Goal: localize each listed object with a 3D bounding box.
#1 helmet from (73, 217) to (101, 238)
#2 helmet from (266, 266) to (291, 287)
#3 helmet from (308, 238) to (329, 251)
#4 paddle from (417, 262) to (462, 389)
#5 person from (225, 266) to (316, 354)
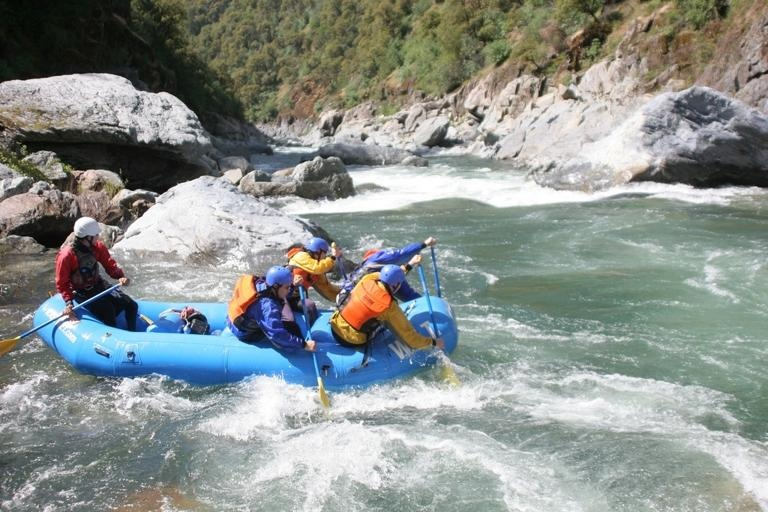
[{"bbox_3d":[-5.269,-0.527,12.298,0.459,0.343,0.310,7,51,-11],"label":"helmet"},{"bbox_3d":[-1.796,0.321,11.802,0.419,0.319,0.289,-13,30,1],"label":"helmet"},{"bbox_3d":[-1.220,-0.228,12.920,0.328,0.237,0.231,-8,25,-23],"label":"helmet"},{"bbox_3d":[1.006,1.319,12.669,0.224,0.191,2.308,-10,68,-20],"label":"paddle"},{"bbox_3d":[-1.915,0.953,11.990,0.877,1.195,0.819,-9,61,-35],"label":"person"}]
